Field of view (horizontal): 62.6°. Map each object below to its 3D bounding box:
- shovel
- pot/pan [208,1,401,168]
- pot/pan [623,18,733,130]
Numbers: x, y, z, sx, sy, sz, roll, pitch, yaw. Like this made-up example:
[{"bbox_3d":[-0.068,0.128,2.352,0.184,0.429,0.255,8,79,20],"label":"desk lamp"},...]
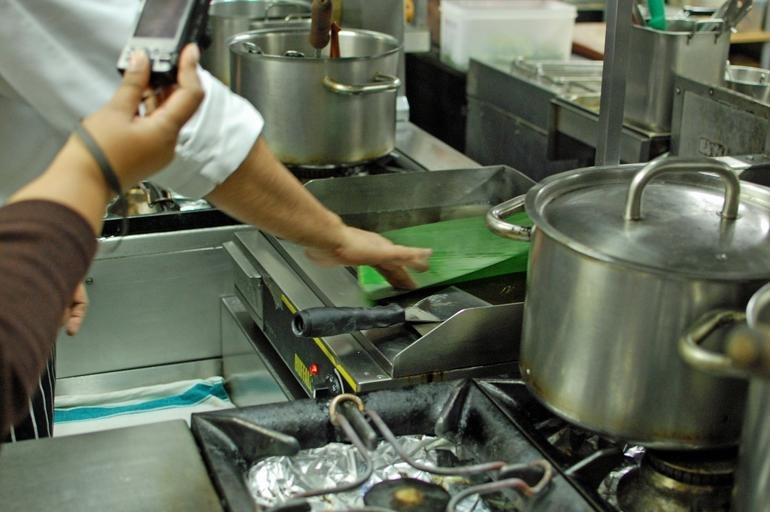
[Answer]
[{"bbox_3d":[0.004,0.102,1.182,0.362,0.089,0.111,-8,26,-11],"label":"shovel"},{"bbox_3d":[-0.215,-0.414,1.809,0.458,0.272,0.603,-12,26,-27],"label":"pot/pan"},{"bbox_3d":[0.733,-0.454,1.567,0.207,0.247,0.256,-9,28,-22],"label":"pot/pan"}]
